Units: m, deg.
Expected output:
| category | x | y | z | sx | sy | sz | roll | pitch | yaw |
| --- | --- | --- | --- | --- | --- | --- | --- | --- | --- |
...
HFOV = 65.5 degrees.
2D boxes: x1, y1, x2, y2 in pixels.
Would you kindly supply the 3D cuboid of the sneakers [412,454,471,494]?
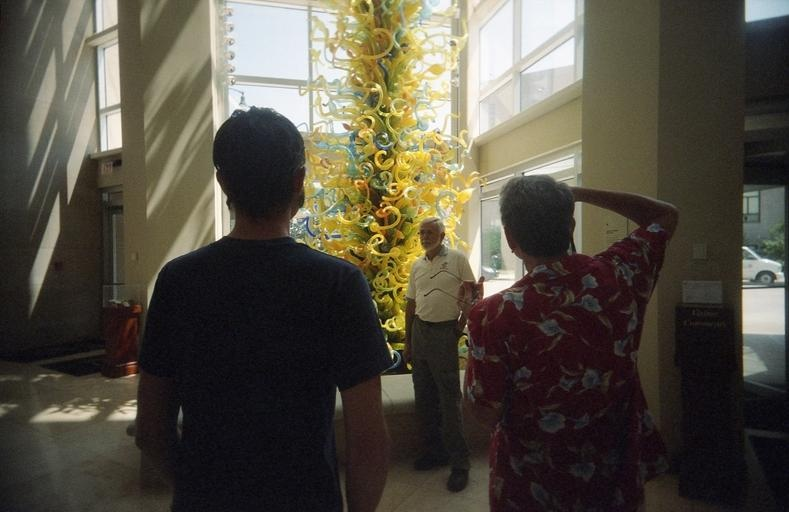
| category | x | y | z | sx | sy | sz | roll | pitch | yaw |
| --- | --- | --- | --- | --- | --- | --- | --- | --- | --- |
| sneakers | 0.429 | 1.857 | 5.277 | 0.593 | 0.246 | 0.187 | -7 | 10 | 34 |
